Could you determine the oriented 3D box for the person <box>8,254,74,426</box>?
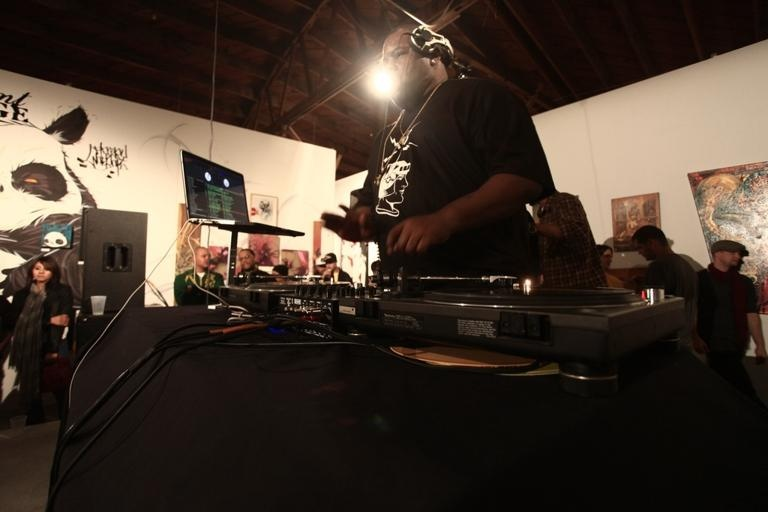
[{"bbox_3d":[-3.605,0.801,5.176,0.519,1.949,0.641,-1,1,-7],"label":"person"}]

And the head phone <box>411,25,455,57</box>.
[{"bbox_3d":[0.299,-1.374,3.210,0.266,0.134,0.307,12,23,22],"label":"head phone"}]

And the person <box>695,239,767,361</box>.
[{"bbox_3d":[3.318,0.410,4.841,0.515,1.113,0.147,-1,1,36],"label":"person"}]

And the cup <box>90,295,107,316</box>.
[{"bbox_3d":[-2.191,0.390,3.894,0.139,0.166,0.136,-6,-19,-2],"label":"cup"}]
